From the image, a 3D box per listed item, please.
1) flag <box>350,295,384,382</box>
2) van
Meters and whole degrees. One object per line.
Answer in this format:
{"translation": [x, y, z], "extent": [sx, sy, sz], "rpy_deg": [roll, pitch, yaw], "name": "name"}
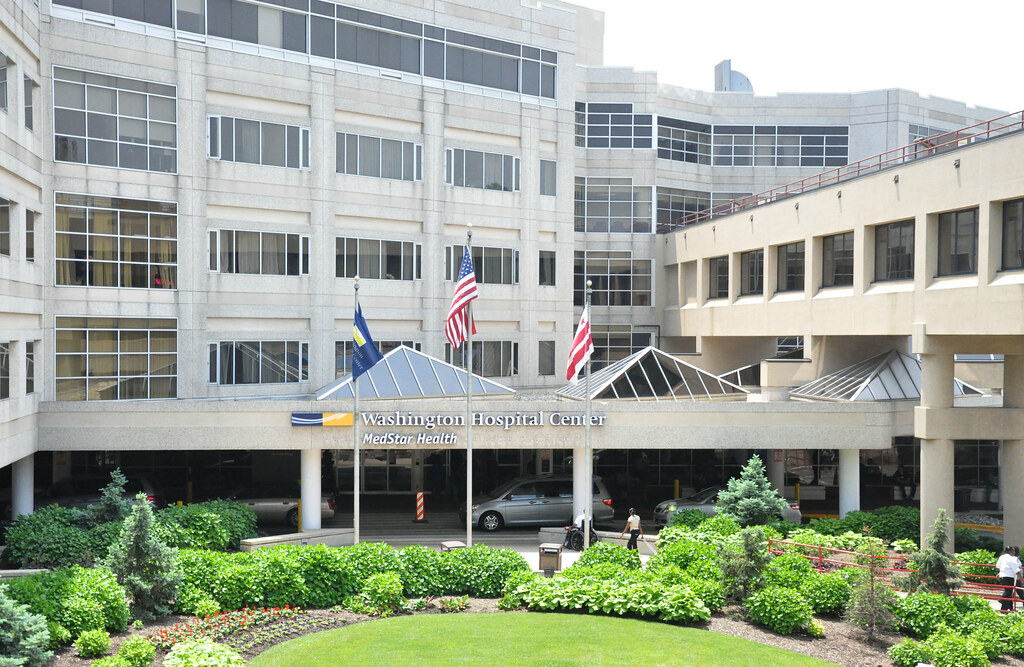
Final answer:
{"translation": [-6.475, 0.310, 62.527], "extent": [0.987, 3.374, 1.788], "rpy_deg": [1, -8, -6], "name": "flag"}
{"translation": [1.495, 8.292, 70.848], "extent": [6.509, 2.216, 2.739], "rpy_deg": [1, -4, -3], "name": "van"}
